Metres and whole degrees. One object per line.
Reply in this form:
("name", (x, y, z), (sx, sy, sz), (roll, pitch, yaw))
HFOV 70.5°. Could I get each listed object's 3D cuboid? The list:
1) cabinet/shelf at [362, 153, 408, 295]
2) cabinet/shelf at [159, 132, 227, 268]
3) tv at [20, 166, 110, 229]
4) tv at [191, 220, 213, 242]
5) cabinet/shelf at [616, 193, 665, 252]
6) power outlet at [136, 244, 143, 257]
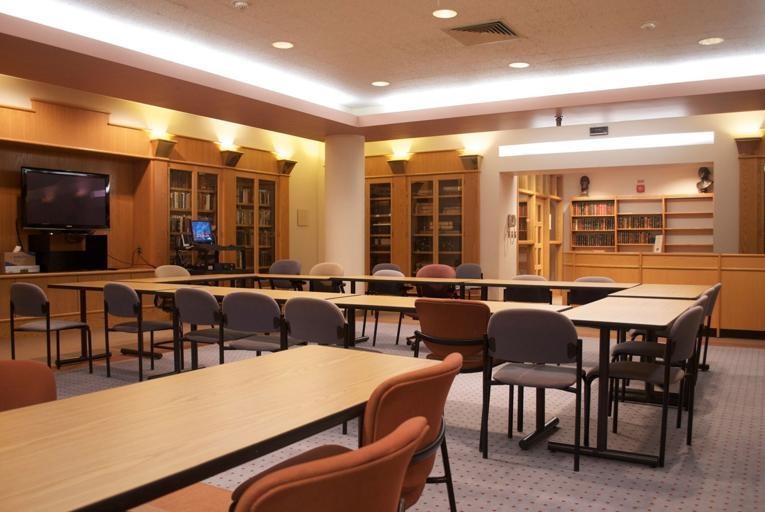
("cabinet/shelf", (0.007, -0.567, 11.530), (0.845, 2.655, 0.386), (5, 30, 9))
("cabinet/shelf", (-3.135, -0.867, 9.047), (0.797, 2.096, 1.082), (-1, 7, -11))
("tv", (-4.667, -0.851, 7.870), (0.115, 0.719, 1.069), (3, 3, 42))
("tv", (-2.978, -0.403, 8.963), (0.177, 0.368, 0.464), (2, 7, 19))
("cabinet/shelf", (5.926, -0.751, 12.454), (0.990, 1.217, 0.410), (2, 7, 21))
("power outlet", (-3.893, -0.085, 8.710), (0.126, 0.147, 0.038), (3, 8, 27))
